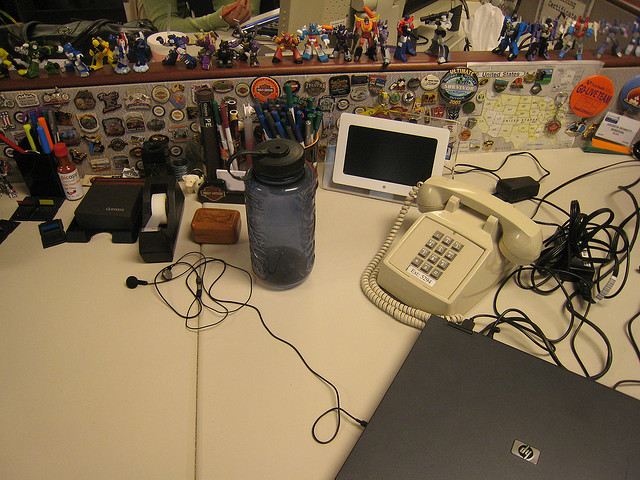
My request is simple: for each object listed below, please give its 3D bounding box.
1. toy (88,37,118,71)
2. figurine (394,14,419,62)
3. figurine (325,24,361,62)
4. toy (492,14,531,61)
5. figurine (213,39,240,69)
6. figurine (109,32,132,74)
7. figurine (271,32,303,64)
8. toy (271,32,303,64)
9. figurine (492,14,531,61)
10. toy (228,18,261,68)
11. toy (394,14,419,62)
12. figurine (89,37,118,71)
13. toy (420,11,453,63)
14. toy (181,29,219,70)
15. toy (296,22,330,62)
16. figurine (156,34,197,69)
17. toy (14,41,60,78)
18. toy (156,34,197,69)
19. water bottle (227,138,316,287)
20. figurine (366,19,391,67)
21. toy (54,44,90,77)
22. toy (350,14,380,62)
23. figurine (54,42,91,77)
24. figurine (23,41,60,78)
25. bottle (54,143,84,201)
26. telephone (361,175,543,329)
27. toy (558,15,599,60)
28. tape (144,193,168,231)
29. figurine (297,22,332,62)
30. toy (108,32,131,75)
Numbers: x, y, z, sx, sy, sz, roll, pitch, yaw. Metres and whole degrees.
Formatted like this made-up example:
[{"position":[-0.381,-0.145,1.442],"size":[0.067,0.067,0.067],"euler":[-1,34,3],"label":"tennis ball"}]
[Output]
[{"position":[-0.581,-0.511,1.414],"size":[0.073,0.085,0.067],"euler":[1,20,-22],"label":"toy"},{"position":[0.253,-0.577,1.480],"size":[0.068,0.112,0.072],"euler":[20,46,26],"label":"figurine"},{"position":[0.060,-0.554,1.467],"size":[0.108,0.105,0.034],"euler":[6,-11,-15],"label":"figurine"},{"position":[0.558,-0.598,1.519],"size":[0.054,0.099,0.056],"euler":[4,11,-23],"label":"toy"},{"position":[-0.256,-0.514,1.440],"size":[0.075,0.087,0.048],"euler":[1,35,-6],"label":"figurine"},{"position":[-0.526,-0.502,1.390],"size":[0.052,0.097,0.049],"euler":[-2,17,-12],"label":"figurine"},{"position":[-0.092,-0.543,1.465],"size":[0.077,0.085,0.057],"euler":[0,14,-3],"label":"figurine"},{"position":[-0.088,-0.545,1.463],"size":[0.077,0.086,0.051],"euler":[2,19,5],"label":"toy"},{"position":[0.575,-0.588,1.554],"size":[0.063,0.144,0.096],"euler":[-3,41,-4],"label":"figurine"},{"position":[-0.193,-0.544,1.462],"size":[0.114,0.125,0.097],"euler":[5,32,4],"label":"toy"},{"position":[0.245,-0.583,1.496],"size":[0.061,0.108,0.090],"euler":[15,35,22],"label":"toy"},{"position":[-0.580,-0.507,1.416],"size":[0.082,0.092,0.078],"euler":[-4,6,-43],"label":"figurine"},{"position":[0.336,-0.589,1.499],"size":[0.081,0.134,0.074],"euler":[-9,28,1],"label":"toy"},{"position":[-0.305,-0.535,1.444],"size":[0.086,0.116,0.102],"euler":[19,38,20],"label":"toy"},{"position":[-0.018,-0.564,1.469],"size":[0.084,0.107,0.054],"euler":[0,45,2],"label":"toy"},{"position":[-0.380,-0.515,1.422],"size":[0.108,0.110,0.071],"euler":[-3,43,-12],"label":"figurine"},{"position":[-0.732,-0.482,1.363],"size":[0.091,0.093,0.047],"euler":[-18,51,-27],"label":"toy"},{"position":[-0.382,-0.513,1.416],"size":[0.106,0.107,0.073],"euler":[-2,43,-12],"label":"toy"},{"position":[-0.111,-0.074,1.268],"size":[0.173,0.386,0.161],"euler":[1,41,-1],"label":"water bottle"},{"position":[0.161,-0.555,1.469],"size":[0.053,0.171,0.075],"euler":[-5,31,-3],"label":"figurine"},{"position":[-0.647,-0.481,1.376],"size":[0.079,0.075,0.037],"euler":[13,42,3],"label":"toy"},{"position":[0.129,-0.570,1.462],"size":[0.069,0.130,0.047],"euler":[0,46,4],"label":"toy"},{"position":[-0.648,-0.483,1.376],"size":[0.080,0.080,0.041],"euler":[14,43,2],"label":"figurine"},{"position":[-0.725,-0.483,1.366],"size":[0.082,0.089,0.052],"euler":[-10,52,-19],"label":"figurine"},{"position":[-0.683,-0.189,1.426],"size":[0.051,0.159,0.034],"euler":[-17,35,-27],"label":"bottle"},{"position":[0.305,0.027,1.239],"size":[0.372,0.171,0.357],"euler":[35,54,26],"label":"telephone"},{"position":[0.753,-0.602,1.532],"size":[0.085,0.136,0.040],"euler":[20,60,19],"label":"toy"},{"position":[-0.405,-0.073,1.322],"size":[0.032,0.047,0.110],"euler":[0,43,-2],"label":"tape"},{"position":[-0.013,-0.564,1.469],"size":[0.098,0.111,0.052],"euler":[1,47,-1],"label":"figurine"},{"position":[-0.524,-0.502,1.392],"size":[0.054,0.094,0.050],"euler":[0,18,0],"label":"toy"}]
